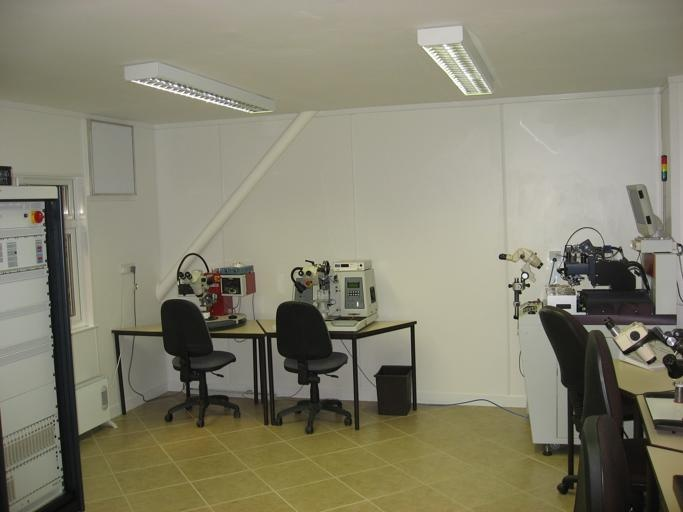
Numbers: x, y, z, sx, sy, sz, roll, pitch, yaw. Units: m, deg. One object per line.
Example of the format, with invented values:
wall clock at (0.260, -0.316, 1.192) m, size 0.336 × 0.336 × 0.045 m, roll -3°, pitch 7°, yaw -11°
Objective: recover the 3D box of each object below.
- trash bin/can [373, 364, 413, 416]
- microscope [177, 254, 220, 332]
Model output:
trash bin/can at (0.546, 1.316, 5.462) m, size 0.390 × 0.510 × 0.407 m, roll 0°, pitch 3°, yaw 12°
microscope at (-1.507, 0.331, 5.729) m, size 0.400 × 0.982 × 0.381 m, roll 1°, pitch 2°, yaw -7°
